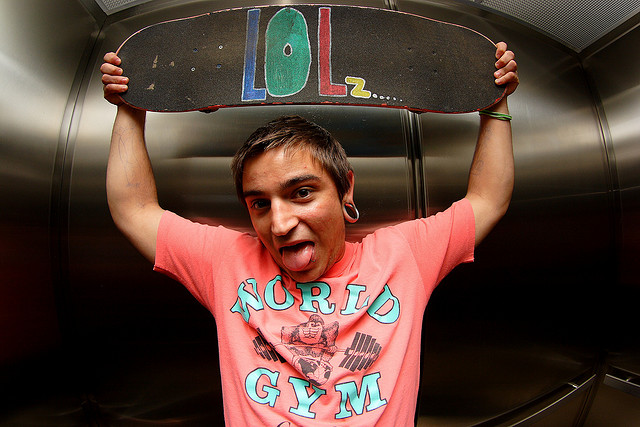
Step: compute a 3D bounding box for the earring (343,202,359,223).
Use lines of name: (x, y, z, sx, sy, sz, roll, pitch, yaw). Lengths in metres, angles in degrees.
earring: (0.127, 0.000, 1.958, 0.018, 0.078, 0.079, -34, 55, -19)

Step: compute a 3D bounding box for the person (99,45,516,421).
person: (-0.117, 0.088, 1.927, 1.684, 1.553, 0.512, 0, -2, -2)
